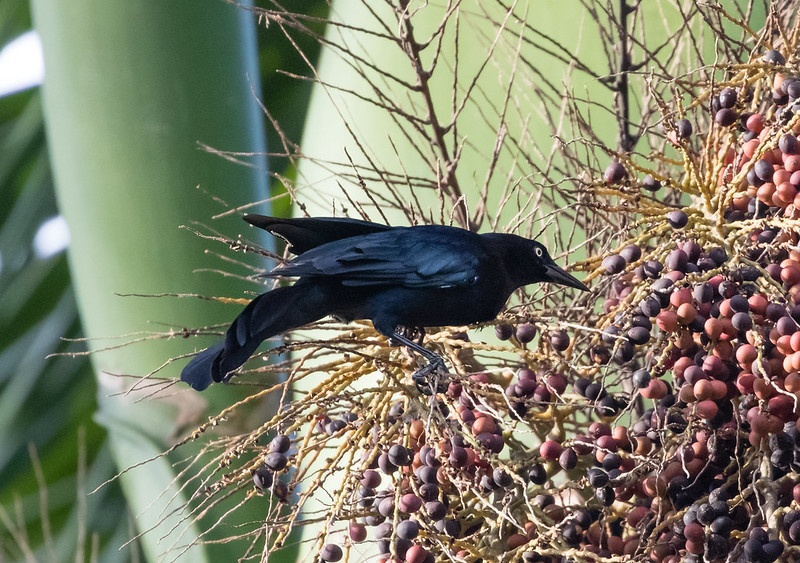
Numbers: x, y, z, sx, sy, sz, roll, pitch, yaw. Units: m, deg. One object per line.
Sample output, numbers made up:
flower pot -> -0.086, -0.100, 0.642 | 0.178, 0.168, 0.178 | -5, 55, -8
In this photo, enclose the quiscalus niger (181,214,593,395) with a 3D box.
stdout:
quiscalus niger -> -0.050, 0.037, 3.818 | 1.200, 0.413, 0.333 | 3, -2, -5
